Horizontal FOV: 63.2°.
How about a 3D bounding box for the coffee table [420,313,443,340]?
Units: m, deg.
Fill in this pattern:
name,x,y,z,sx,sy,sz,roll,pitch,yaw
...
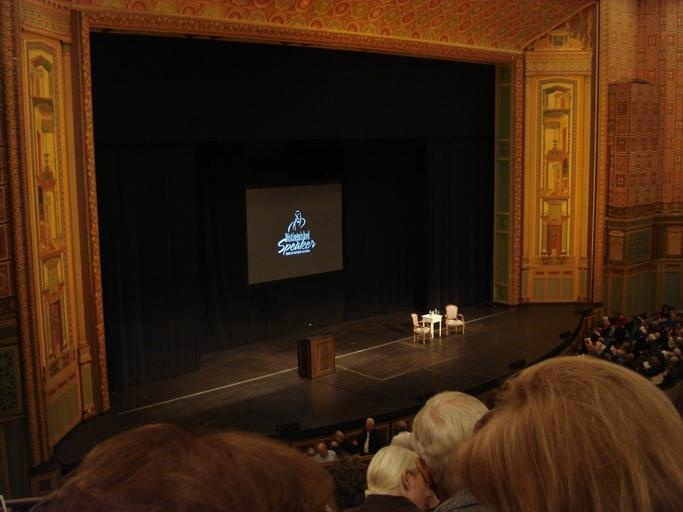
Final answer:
name,x,y,z,sx,sy,sz,roll,pitch,yaw
coffee table,2.014,1.488,12.138,0.515,0.598,0.505,-10,13,-44
